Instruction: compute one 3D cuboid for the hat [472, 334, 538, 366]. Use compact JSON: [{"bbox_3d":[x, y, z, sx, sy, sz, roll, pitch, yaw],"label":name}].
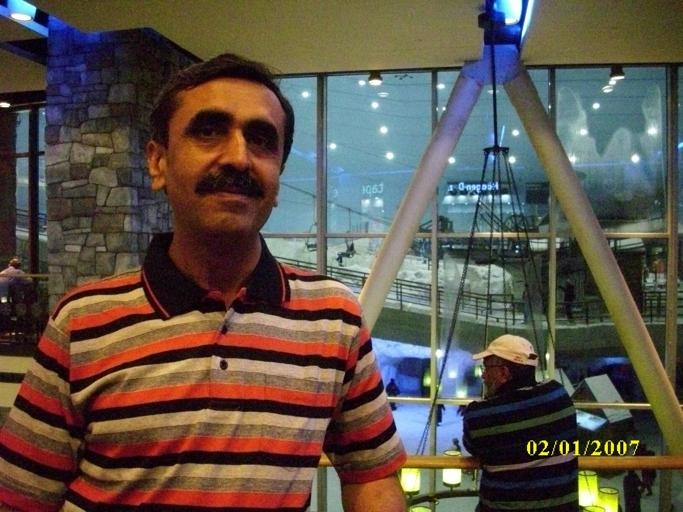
[{"bbox_3d":[1.178,0.677,4.704,0.349,0.178,0.239,5,-12,25],"label":"hat"}]
